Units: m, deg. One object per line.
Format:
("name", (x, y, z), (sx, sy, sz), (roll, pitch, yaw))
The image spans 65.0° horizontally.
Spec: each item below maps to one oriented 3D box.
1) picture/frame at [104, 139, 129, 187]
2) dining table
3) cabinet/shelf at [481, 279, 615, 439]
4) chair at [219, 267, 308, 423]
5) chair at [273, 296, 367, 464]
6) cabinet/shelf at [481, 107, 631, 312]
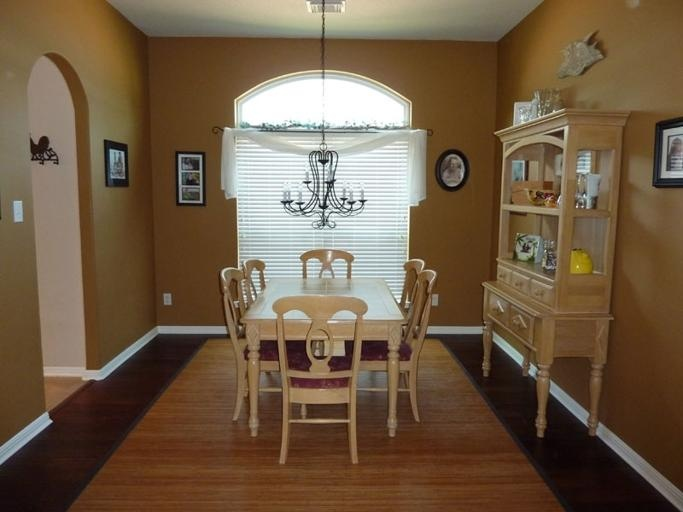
("picture/frame", (-2.165, -0.872, 5.200), (0.016, 0.426, 0.533), (-5, 12, -41))
("dining table", (-0.124, 1.037, 4.368), (0.923, 0.781, 1.536), (1, 10, 1))
("cabinet/shelf", (1.669, 0.831, 4.685), (0.540, 1.016, 1.499), (1, 7, -2))
("chair", (-0.604, 0.656, 4.351), (0.637, 1.107, 0.711), (-2, 8, 17))
("chair", (-0.141, 0.774, 3.979), (0.631, 1.213, 0.850), (0, 14, 1))
("cabinet/shelf", (1.718, -0.395, 4.361), (0.588, 1.530, 1.227), (-1, 14, -6))
